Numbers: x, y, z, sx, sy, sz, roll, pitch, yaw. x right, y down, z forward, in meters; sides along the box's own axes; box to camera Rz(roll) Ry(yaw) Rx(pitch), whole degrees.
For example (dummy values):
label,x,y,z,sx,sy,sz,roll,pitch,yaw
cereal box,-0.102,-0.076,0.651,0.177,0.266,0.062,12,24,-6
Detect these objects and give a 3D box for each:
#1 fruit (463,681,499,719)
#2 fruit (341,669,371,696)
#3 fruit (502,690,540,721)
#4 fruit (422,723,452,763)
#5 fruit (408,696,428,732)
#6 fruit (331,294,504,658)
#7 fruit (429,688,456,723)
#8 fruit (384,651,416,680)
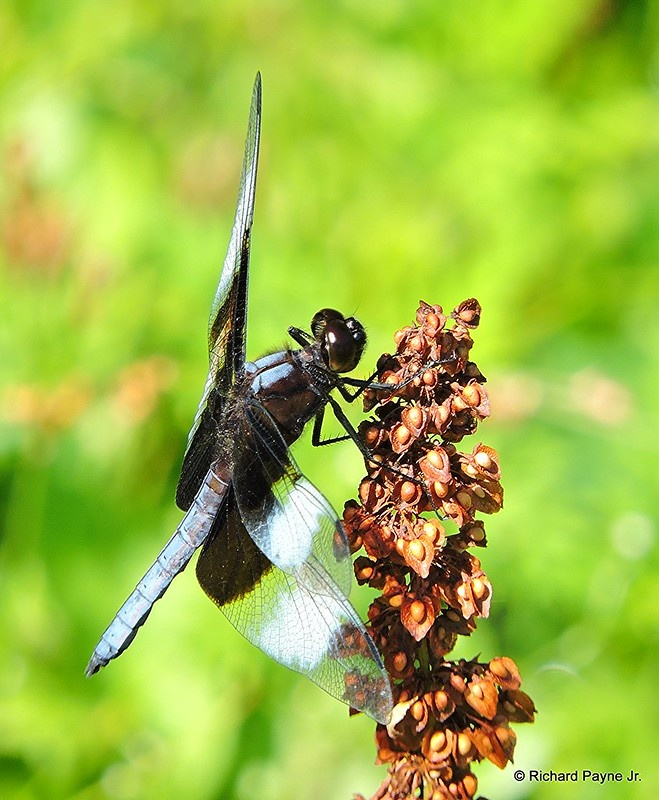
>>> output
label,x,y,z,sx,sy,sz,roll,pitch,yaw
fruit,0.298,0.590,1.910,0.058,0.071,0.017,-32,-16,10
fruit,0.054,0.582,1.999,0.053,0.045,0.018,-38,-37,29
fruit,0.378,0.625,1.969,0.063,0.061,0.039,-9,-25,15
fruit,0.213,0.685,1.912,0.060,0.060,0.022,-4,-24,4
fruit,0.173,0.626,1.921,0.040,0.054,0.018,-12,-8,21
fruit,0.181,0.163,2.022,0.342,0.713,0.218,-9,-25,16
fruit,0.222,0.604,1.907,0.045,0.057,0.021,-5,-13,-15
fruit,0.138,0.536,1.965,0.051,0.053,0.020,20,1,24
